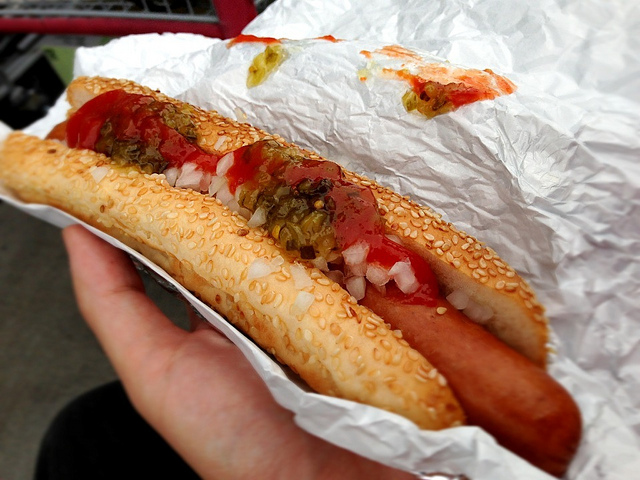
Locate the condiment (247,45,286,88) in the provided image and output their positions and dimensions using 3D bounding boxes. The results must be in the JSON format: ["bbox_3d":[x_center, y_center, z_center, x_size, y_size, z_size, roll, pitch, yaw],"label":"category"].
[{"bbox_3d":[-0.339,-1.113,3.687,0.223,0.256,0.122,20,32,37],"label":"condiment"}]

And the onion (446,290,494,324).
[{"bbox_3d":[0.839,0.373,3.242,0.216,0.169,0.197,1,100,-18],"label":"onion"}]

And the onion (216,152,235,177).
[{"bbox_3d":[-0.542,-0.428,3.240,0.089,0.051,0.139,24,81,30],"label":"onion"}]

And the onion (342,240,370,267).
[{"bbox_3d":[0.198,0.070,3.000,0.155,0.073,0.112,-37,86,-6],"label":"onion"}]

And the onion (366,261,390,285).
[{"bbox_3d":[0.302,0.169,2.993,0.115,0.046,0.115,1,83,-2],"label":"onion"}]

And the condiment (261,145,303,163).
[{"bbox_3d":[-0.208,-0.489,3.106,0.190,0.068,0.104,17,24,10],"label":"condiment"}]

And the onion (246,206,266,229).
[{"bbox_3d":[-0.343,-0.120,3.085,0.113,0.116,0.085,-19,84,-4],"label":"onion"}]

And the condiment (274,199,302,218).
[{"bbox_3d":[-0.168,-0.159,2.978,0.127,0.030,0.077,-39,72,1],"label":"condiment"}]

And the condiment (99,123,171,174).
[{"bbox_3d":[-1.054,-0.534,3.391,0.420,0.227,0.139,36,30,-3],"label":"condiment"}]

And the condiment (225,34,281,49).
[{"bbox_3d":[-0.424,-1.300,3.761,0.327,0.084,0.066,12,50,15],"label":"condiment"}]

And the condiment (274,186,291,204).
[{"bbox_3d":[-0.198,-0.242,3.010,0.058,0.023,0.102,38,89,15],"label":"condiment"}]
